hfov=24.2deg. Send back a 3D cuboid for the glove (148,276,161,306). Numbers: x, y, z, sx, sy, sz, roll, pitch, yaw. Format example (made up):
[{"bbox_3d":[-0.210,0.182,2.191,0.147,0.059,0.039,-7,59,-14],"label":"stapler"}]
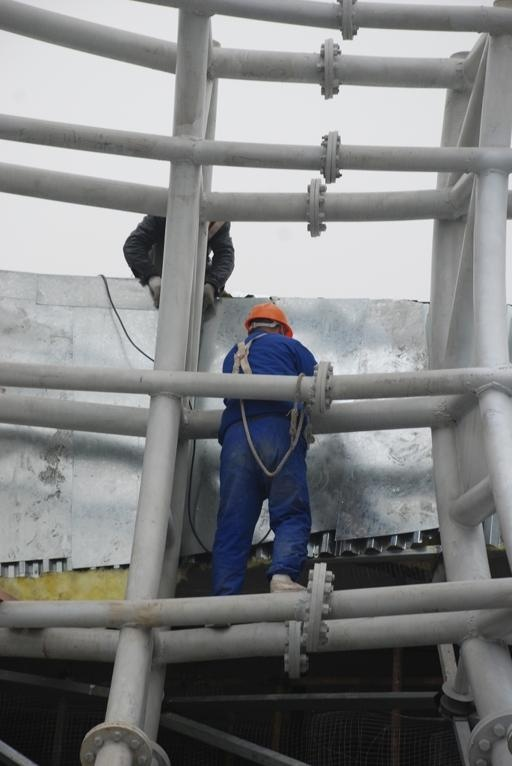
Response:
[{"bbox_3d":[-1.017,-0.955,11.947,0.085,0.407,0.220,0,4,-2],"label":"glove"}]

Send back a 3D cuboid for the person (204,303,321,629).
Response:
[{"bbox_3d":[0.061,0.370,9.435,0.831,3.074,0.871,-6,-31,16],"label":"person"}]
